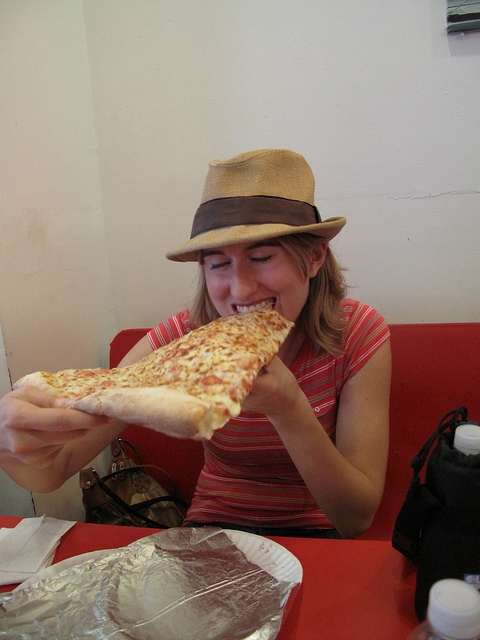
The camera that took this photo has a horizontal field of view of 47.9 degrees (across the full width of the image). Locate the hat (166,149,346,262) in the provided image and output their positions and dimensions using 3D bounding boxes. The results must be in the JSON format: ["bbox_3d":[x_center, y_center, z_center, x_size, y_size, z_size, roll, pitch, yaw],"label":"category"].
[{"bbox_3d":[0.059,-0.263,1.426,0.377,0.168,0.338,-17,15,-26],"label":"hat"}]

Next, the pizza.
[{"bbox_3d":[-0.182,0.096,1.201,0.505,0.163,0.491,0,9,21],"label":"pizza"}]
